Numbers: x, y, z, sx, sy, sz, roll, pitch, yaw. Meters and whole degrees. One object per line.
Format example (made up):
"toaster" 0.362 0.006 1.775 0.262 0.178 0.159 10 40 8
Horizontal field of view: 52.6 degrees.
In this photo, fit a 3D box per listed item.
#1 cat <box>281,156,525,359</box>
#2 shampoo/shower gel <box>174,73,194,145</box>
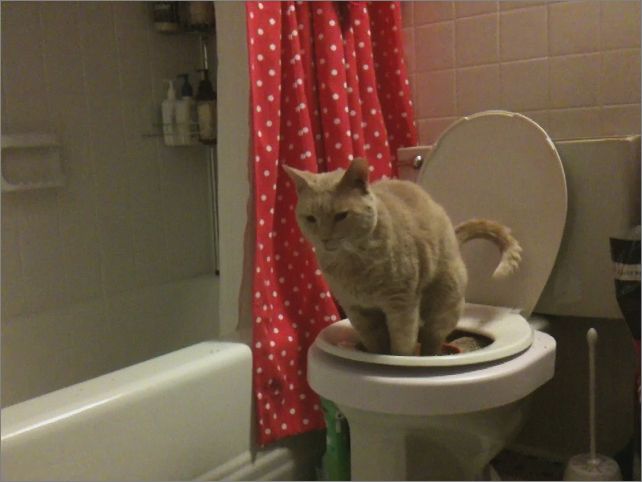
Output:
"cat" 0.144 0.048 1.547 0.428 0.518 0.198 -12 16 -35
"shampoo/shower gel" -0.570 -0.555 2.716 0.080 0.282 0.176 -4 13 -7
